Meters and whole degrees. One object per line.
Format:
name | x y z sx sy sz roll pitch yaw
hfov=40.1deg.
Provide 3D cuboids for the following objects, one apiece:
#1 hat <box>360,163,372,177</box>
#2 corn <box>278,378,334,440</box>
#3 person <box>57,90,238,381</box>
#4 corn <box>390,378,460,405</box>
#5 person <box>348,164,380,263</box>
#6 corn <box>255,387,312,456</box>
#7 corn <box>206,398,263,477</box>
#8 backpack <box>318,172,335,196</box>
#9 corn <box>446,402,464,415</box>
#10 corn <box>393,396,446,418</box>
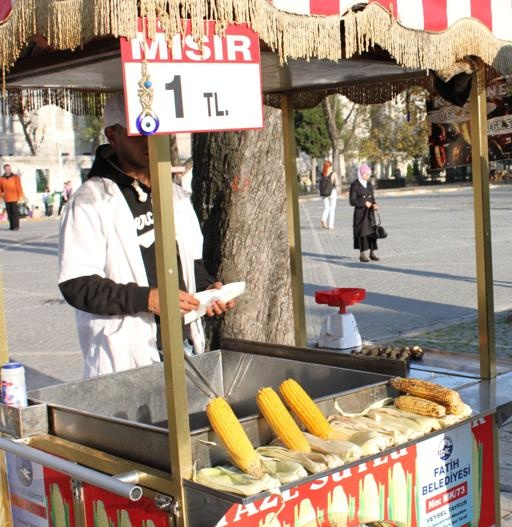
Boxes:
hat | 2.183 -1.841 13.968 0.167 0.260 0.255 2 16 1
corn | 0.163 0.473 2.360 0.081 0.091 0.287 -22 43 -11
person | -0.544 -0.128 3.297 0.669 1.335 0.778 1 7 31
corn | 0.615 0.459 2.564 0.088 0.084 0.274 0 10 -37
person | 2.152 -0.947 14.082 0.532 2.382 0.623 1 9 -12
corn | 0.080 0.491 2.191 0.168 0.182 0.164 3 10 -13
corn | -0.060 0.524 2.063 0.076 0.073 0.280 -5 43 -40
backpack | 1.915 -2.100 19.035 0.439 0.821 0.400 2 6 22
corn | 0.698 0.497 2.437 0.038 0.015 0.041 -9 3 -21
corn | 0.565 0.498 2.425 0.177 0.070 0.057 10 21 37
